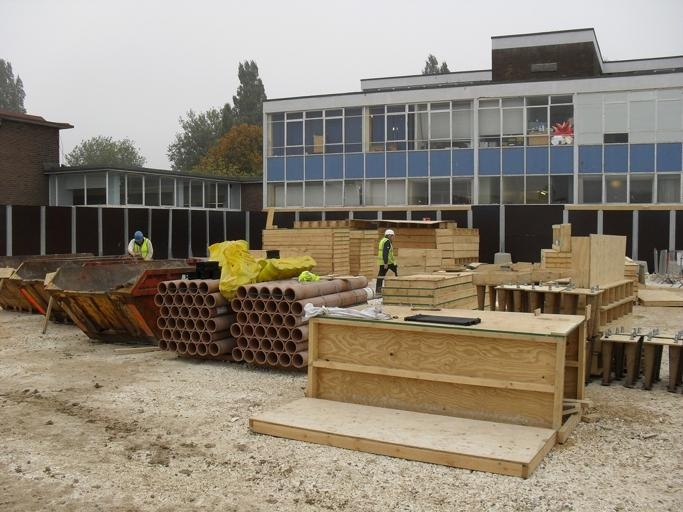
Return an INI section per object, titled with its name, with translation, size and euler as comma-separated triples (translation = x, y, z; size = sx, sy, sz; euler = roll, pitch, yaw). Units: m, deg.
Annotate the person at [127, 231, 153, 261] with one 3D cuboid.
[person]
translation = -7.259, -0.402, 18.660
size = 0.715, 0.980, 1.993
euler = -2, 4, -21
